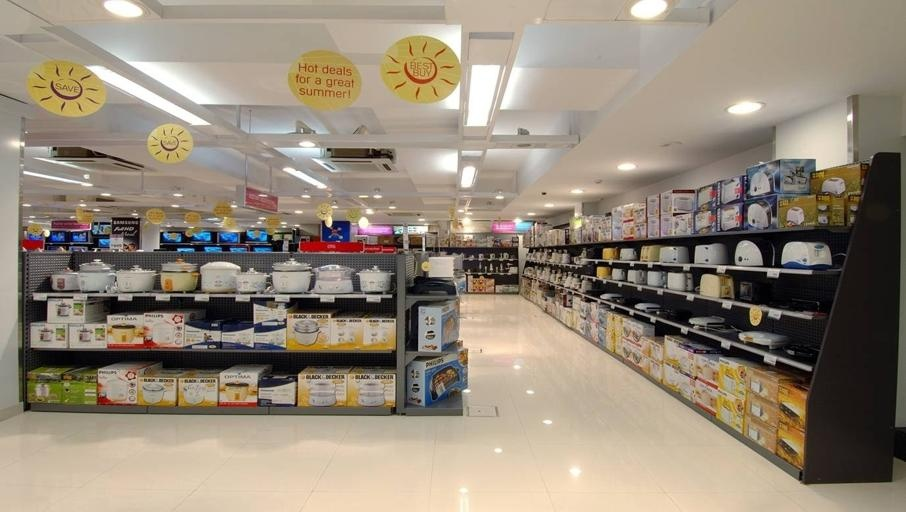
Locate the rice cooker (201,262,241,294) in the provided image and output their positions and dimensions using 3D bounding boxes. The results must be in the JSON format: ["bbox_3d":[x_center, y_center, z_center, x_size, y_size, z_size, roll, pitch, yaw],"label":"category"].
[{"bbox_3d":[-3.354,0.309,8.118,0.532,0.359,0.530,-1,-2,17],"label":"rice cooker"}]

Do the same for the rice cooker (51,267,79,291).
[{"bbox_3d":[-5.689,0.363,8.211,0.377,0.267,0.338,1,-3,9],"label":"rice cooker"}]

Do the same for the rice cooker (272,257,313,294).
[{"bbox_3d":[-2.319,0.260,7.965,0.535,0.361,0.584,-1,0,-10],"label":"rice cooker"}]

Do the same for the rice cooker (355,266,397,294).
[{"bbox_3d":[-1.179,0.353,8.175,0.515,0.299,0.386,0,-4,-7],"label":"rice cooker"}]

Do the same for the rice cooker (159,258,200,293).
[{"bbox_3d":[-4.066,0.281,8.198,0.751,0.461,0.508,0,2,15],"label":"rice cooker"}]

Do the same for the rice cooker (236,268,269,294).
[{"bbox_3d":[-2.875,0.368,8.026,0.422,0.267,0.322,4,-6,-42],"label":"rice cooker"}]

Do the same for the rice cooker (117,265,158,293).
[{"bbox_3d":[-4.620,0.327,8.068,0.445,0.248,0.438,-2,-1,8],"label":"rice cooker"}]

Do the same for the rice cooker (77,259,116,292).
[{"bbox_3d":[-5.172,0.278,8.194,0.717,0.421,0.421,1,2,5],"label":"rice cooker"}]

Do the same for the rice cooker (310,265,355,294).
[{"bbox_3d":[-1.772,0.333,8.002,0.508,0.281,0.478,1,-1,-29],"label":"rice cooker"}]
